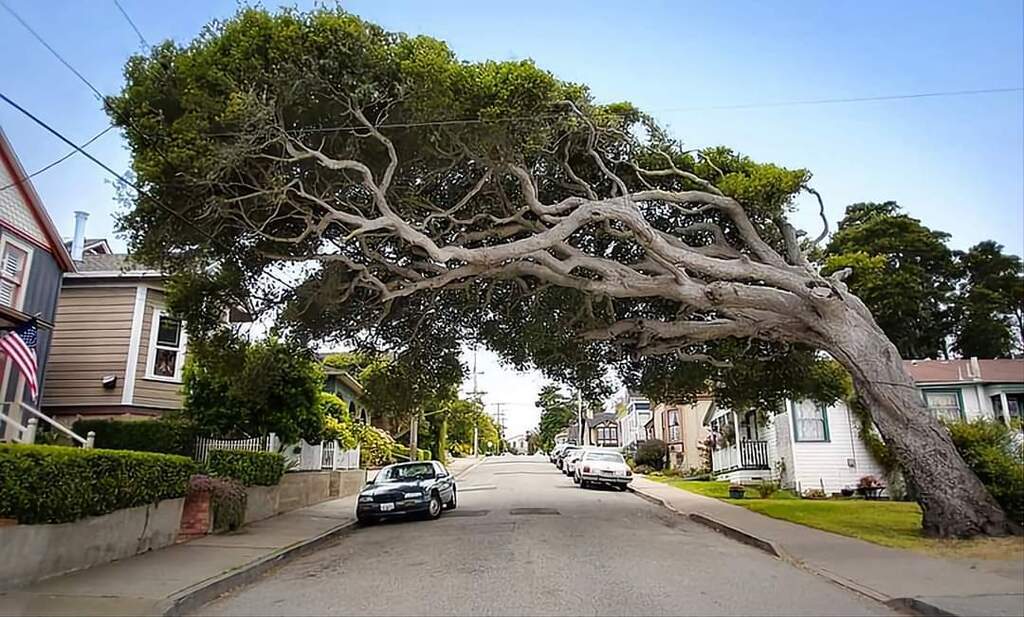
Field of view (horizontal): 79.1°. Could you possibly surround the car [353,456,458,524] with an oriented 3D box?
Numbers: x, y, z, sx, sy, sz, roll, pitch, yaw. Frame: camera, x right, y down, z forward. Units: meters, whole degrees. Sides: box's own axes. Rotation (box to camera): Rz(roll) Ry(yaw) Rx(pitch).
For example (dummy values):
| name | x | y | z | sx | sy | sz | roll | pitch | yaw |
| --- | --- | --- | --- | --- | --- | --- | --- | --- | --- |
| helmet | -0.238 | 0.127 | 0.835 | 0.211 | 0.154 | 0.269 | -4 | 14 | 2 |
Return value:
| name | x | y | z | sx | sy | sz | roll | pitch | yaw |
| --- | --- | --- | --- | --- | --- | --- | --- | --- | --- |
| car | -3.574 | 6.382 | 21.602 | 2.226 | 2.084 | 3.566 | -9 | -17 | 25 |
